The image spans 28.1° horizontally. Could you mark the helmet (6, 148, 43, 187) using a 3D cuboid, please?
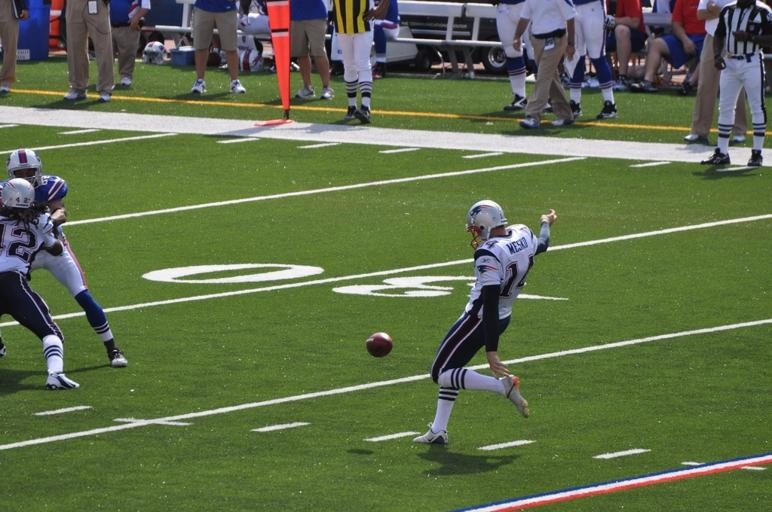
[{"bbox_3d":[-3.329,-0.845,14.293,0.307,0.277,0.360,-4,3,-14],"label":"helmet"}]

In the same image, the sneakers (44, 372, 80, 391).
[{"bbox_3d":[-2.867,1.112,13.631,0.365,0.152,0.120,1,20,-16],"label":"sneakers"}]

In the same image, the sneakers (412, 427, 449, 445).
[{"bbox_3d":[0.391,1.514,12.866,0.356,0.135,0.110,2,13,10],"label":"sneakers"}]

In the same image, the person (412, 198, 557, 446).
[{"bbox_3d":[0.749,0.553,12.942,0.971,1.993,0.681,0,10,3],"label":"person"}]

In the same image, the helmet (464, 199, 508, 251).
[{"bbox_3d":[0.824,-0.289,13.088,0.479,0.405,0.357,2,9,20],"label":"helmet"}]

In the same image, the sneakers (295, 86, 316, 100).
[{"bbox_3d":[-1.268,-2.604,24.571,0.386,0.145,0.127,2,17,7],"label":"sneakers"}]

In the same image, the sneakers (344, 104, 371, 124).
[{"bbox_3d":[-0.390,-2.048,22.327,0.203,0.191,0.454,1,-13,10],"label":"sneakers"}]

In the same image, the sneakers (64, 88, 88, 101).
[{"bbox_3d":[-4.850,-2.515,24.031,0.154,0.165,0.444,10,7,32],"label":"sneakers"}]

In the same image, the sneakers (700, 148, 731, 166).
[{"bbox_3d":[4.086,-1.225,19.355,0.420,0.164,0.140,-3,16,-11],"label":"sneakers"}]

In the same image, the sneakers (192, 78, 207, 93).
[{"bbox_3d":[-3.007,-2.721,24.838,0.162,0.152,0.369,0,0,5],"label":"sneakers"}]

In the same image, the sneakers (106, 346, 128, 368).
[{"bbox_3d":[-2.436,0.925,14.055,0.168,0.181,0.186,-2,10,-10],"label":"sneakers"}]

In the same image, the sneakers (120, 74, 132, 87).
[{"bbox_3d":[-4.282,-2.905,25.586,0.190,0.156,0.158,-31,-34,32],"label":"sneakers"}]

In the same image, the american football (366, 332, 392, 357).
[{"bbox_3d":[-0.054,0.780,13.380,0.198,0.163,0.228,-8,2,-18],"label":"american football"}]

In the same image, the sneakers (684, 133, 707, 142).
[{"bbox_3d":[4.171,-1.578,20.783,0.330,0.118,0.120,8,4,-21],"label":"sneakers"}]

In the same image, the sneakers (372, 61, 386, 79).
[{"bbox_3d":[-0.107,-3.235,26.842,0.325,0.264,0.179,3,-1,4],"label":"sneakers"}]

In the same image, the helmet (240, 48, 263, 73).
[{"bbox_3d":[-2.448,-3.583,28.054,0.460,0.424,0.483,6,30,13],"label":"helmet"}]

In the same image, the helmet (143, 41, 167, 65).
[{"bbox_3d":[-4.327,-3.824,28.888,0.403,0.366,0.496,-1,-3,4],"label":"helmet"}]
